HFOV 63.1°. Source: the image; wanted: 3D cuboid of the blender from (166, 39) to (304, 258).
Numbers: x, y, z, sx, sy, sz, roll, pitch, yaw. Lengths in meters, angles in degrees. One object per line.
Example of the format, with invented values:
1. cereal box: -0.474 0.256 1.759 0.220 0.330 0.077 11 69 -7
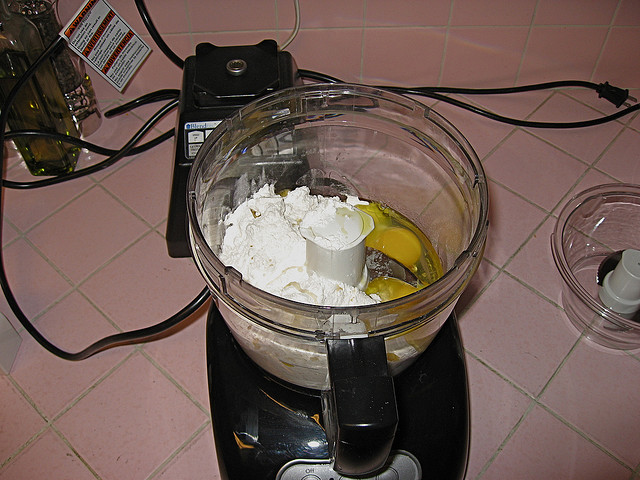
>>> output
1. blender: -0.112 -0.156 0.895 0.229 0.234 0.333 0 53 0

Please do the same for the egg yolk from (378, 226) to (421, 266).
1. egg yolk: 0.105 0.006 0.674 0.040 0.017 0.051 -34 57 -21
